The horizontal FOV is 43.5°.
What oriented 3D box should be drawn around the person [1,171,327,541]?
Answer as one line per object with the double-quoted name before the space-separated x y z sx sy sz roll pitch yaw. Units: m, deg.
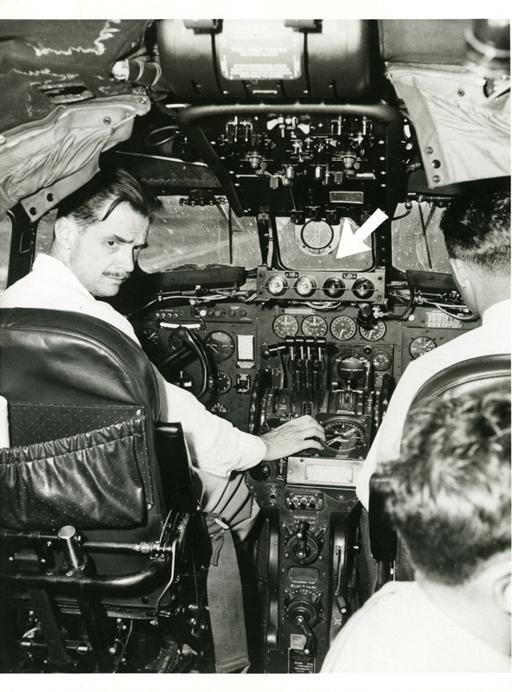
"person" -0.274 -0.151 2.859 1.381 1.748 1.135 -13 29 -33
